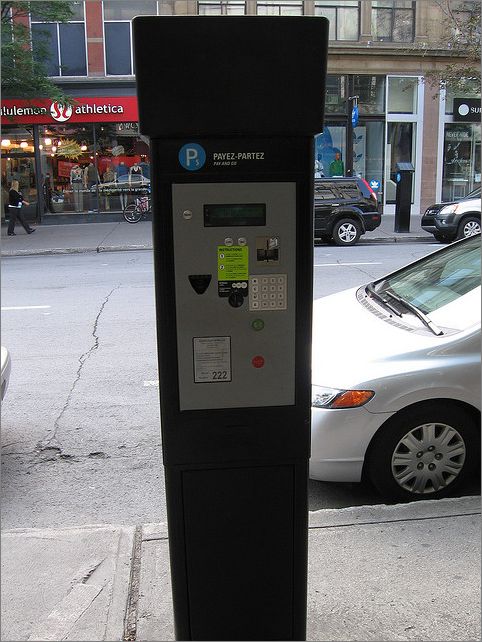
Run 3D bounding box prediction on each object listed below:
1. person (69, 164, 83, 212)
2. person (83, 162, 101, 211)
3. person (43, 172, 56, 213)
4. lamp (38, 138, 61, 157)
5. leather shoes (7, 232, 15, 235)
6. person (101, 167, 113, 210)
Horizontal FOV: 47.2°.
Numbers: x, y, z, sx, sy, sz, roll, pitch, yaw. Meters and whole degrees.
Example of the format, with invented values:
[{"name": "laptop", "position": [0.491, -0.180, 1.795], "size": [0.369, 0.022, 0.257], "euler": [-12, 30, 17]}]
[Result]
[{"name": "person", "position": [-6.850, -5.620, 23.175], "size": [0.544, 1.979, 0.142], "euler": [-6, 14, -13]}, {"name": "person", "position": [-6.233, -5.670, 23.274], "size": [0.544, 1.995, 0.164], "euler": [-7, 14, -15]}, {"name": "person", "position": [-8.049, -5.375, 23.098], "size": [0.454, 1.599, 0.107], "euler": [-5, 14, -7]}, {"name": "lamp", "position": [-7.915, -7.270, 22.982], "size": [0.700, 0.698, 0.208], "euler": [-1, 12, -3]}, {"name": "leather shoes", "position": [-8.287, -3.185, 19.904], "size": [0.173, 0.133, 0.400], "euler": [-1, 9, -14]}, {"name": "person", "position": [-5.600, -5.662, 23.306], "size": [0.645, 1.853, 0.159], "euler": [-5, 14, -10]}]
